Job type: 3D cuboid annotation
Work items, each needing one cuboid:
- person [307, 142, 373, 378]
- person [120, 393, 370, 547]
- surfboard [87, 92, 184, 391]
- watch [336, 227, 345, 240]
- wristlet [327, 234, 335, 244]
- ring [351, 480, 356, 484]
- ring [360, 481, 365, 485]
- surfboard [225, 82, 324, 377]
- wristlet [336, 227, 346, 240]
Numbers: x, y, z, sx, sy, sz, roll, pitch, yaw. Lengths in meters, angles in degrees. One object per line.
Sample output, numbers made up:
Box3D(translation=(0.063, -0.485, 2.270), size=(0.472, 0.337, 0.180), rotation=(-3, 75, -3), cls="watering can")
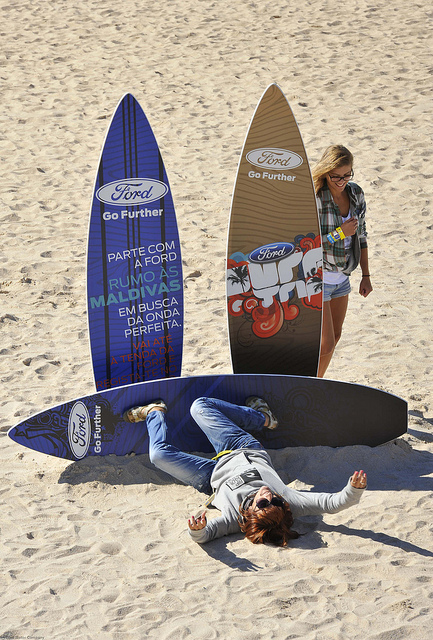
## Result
Box3D(translation=(0.714, -0.342, 4.720), size=(0.328, 1.371, 0.354), rotation=(0, 24, 9), cls="person")
Box3D(translation=(0.113, 0.684, 4.044), size=(0.854, 0.414, 1.096), rotation=(-9, 38, -25), cls="person")
Box3D(translation=(-0.473, -0.437, 4.664), size=(0.453, 1.632, 0.716), rotation=(2, 24, 14), cls="surfboard")
Box3D(translation=(0.680, -0.491, 4.521), size=(0.023, 0.071, 0.010), rotation=(-30, -11, 25), cls="watch")
Box3D(translation=(0.635, -0.463, 4.565), size=(0.009, 0.031, 0.057), rotation=(-13, 61, -40), cls="wristlet")
Box3D(translation=(0.600, 0.711, 3.643), size=(0.006, 0.009, 0.024), rotation=(-24, 29, -39), cls="ring")
Box3D(translation=(0.641, 0.717, 3.630), size=(0.020, 0.006, 0.005), rotation=(2, 23, 13), cls="ring")
Box3D(translation=(0.324, -0.502, 4.733), size=(0.558, 1.654, 0.541), rotation=(-2, 24, 6), cls="surfboard")
Box3D(translation=(0.679, -0.490, 4.510), size=(0.025, 0.068, 0.011), rotation=(-24, -4, 23), cls="wristlet")
